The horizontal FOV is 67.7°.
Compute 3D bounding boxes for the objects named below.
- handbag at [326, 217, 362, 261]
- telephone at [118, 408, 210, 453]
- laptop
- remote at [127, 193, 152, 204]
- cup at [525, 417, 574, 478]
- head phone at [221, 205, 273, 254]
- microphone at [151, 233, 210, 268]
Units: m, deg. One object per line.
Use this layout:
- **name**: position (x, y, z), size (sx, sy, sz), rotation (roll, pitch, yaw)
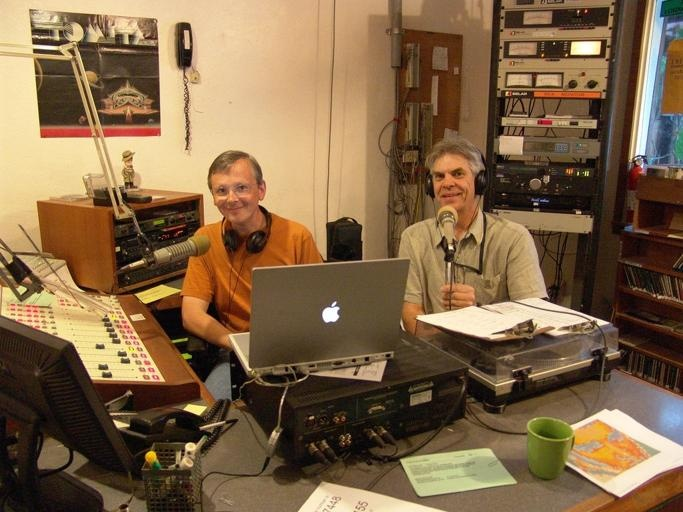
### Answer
- **handbag**: position (0.023, -0.121, 4.052), size (0.280, 0.288, 0.221), rotation (-5, 20, -2)
- **telephone**: position (-0.546, 0.516, 1.535), size (0.182, 0.058, 0.124), rotation (-2, 8, -41)
- **laptop**: position (-0.102, 0.162, 1.770), size (0.519, 0.376, 0.397), rotation (-2, 15, -22)
- **remote**: position (-1.095, -0.314, 2.751), size (0.127, 0.045, 0.102), rotation (-12, 21, -22)
- **cup**: position (0.613, 0.569, 1.483), size (0.125, 0.110, 0.100), rotation (1, 3, -30)
- **head phone**: position (-0.474, -0.127, 2.499), size (0.234, 0.107, 0.281), rotation (4, 42, 3)
- **microphone**: position (-0.599, -0.033, 1.907), size (0.077, 0.078, 0.263), rotation (-35, -12, 38)
